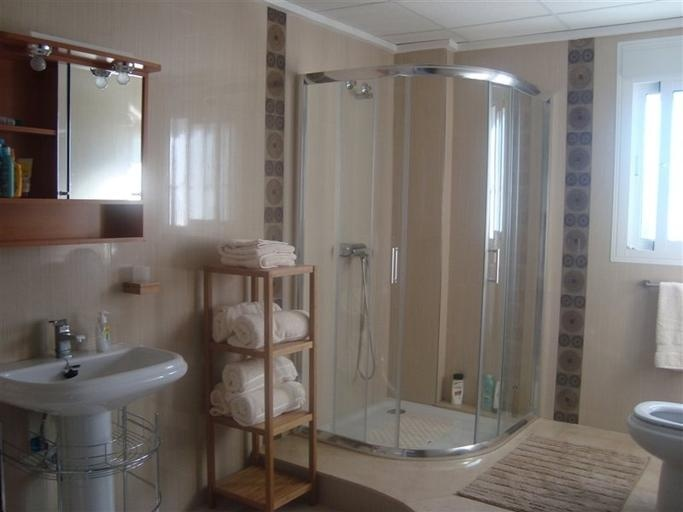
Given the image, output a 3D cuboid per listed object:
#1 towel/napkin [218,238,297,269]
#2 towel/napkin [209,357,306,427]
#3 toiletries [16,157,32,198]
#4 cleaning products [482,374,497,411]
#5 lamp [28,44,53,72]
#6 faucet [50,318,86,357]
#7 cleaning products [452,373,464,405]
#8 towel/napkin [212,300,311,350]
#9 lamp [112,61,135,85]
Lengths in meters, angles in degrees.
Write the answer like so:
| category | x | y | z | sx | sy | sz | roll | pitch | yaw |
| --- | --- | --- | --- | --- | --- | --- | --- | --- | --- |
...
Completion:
| category | x | y | z | sx | sy | sz | roll | pitch | yaw |
| --- | --- | --- | --- | --- | --- | --- | --- | --- | --- |
| towel/napkin | -0.464 | -0.014 | 3.164 | 0.419 | 0.156 | 0.231 | -1 | 11 | -12 |
| towel/napkin | -0.447 | 0.688 | 3.214 | 0.373 | 0.258 | 0.382 | 1 | 1 | 40 |
| toiletries | -1.392 | -0.352 | 2.528 | 0.054 | 0.156 | 0.051 | -2 | 5 | -44 |
| cleaning products | 0.922 | 0.858 | 3.601 | 0.162 | 0.230 | 0.050 | -9 | 15 | -42 |
| lamp | -1.303 | -0.846 | 2.492 | 0.099 | 0.118 | 0.092 | -1 | 5 | -34 |
| faucet | -1.267 | 0.379 | 2.615 | 0.095 | 0.190 | 0.240 | -2 | 3 | -44 |
| cleaning products | 0.710 | 0.812 | 3.505 | 0.077 | 0.163 | 0.159 | 3 | 11 | 13 |
| towel/napkin | -0.435 | 0.333 | 3.201 | 0.301 | 0.142 | 0.306 | 4 | 2 | 41 |
| lamp | -1.032 | -0.871 | 2.719 | 0.088 | 0.105 | 0.089 | 1 | 5 | -27 |
